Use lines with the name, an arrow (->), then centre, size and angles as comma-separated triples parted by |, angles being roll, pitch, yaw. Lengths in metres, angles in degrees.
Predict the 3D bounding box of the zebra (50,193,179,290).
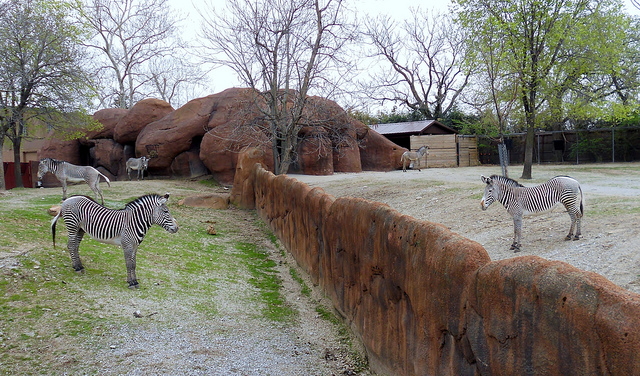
zebra -> -5.885, 1.309, 14.925 | 3.575, 2.694, 0.867 | 8, 8, -1
